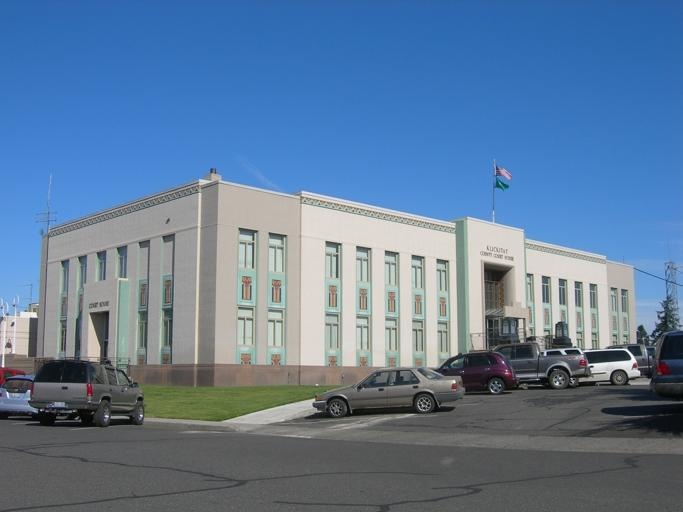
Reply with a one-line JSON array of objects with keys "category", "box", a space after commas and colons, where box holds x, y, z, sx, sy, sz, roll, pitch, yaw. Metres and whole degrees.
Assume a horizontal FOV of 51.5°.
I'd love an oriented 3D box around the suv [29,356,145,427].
[{"category": "suv", "box": [-8.645, 4.803, 24.593, 2.070, 1.761, 3.850, -4, -7, 22]}]
